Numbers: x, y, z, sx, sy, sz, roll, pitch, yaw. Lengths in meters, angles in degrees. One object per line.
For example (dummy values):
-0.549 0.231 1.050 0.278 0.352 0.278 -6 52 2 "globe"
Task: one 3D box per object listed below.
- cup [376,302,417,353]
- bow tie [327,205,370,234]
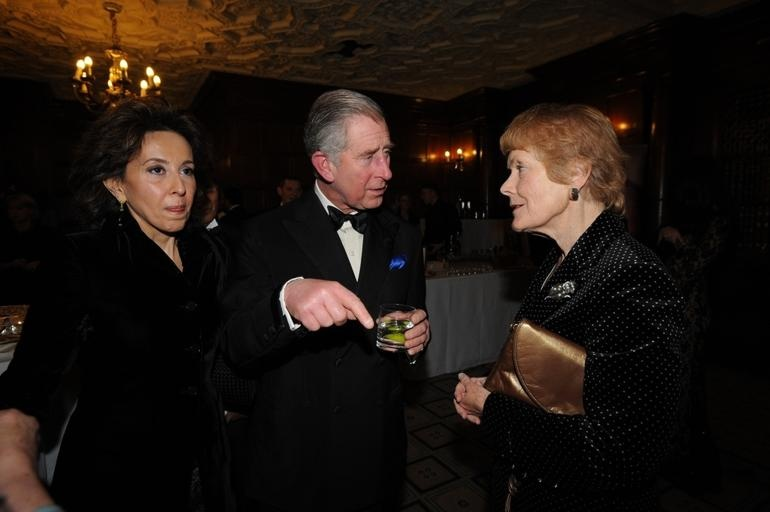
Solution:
0.047 0.382 2.903 0.247 0.258 0.242 2 -5 0 "cup"
-0.219 -0.227 3.151 0.178 0.112 0.038 4 -21 -21 "bow tie"
